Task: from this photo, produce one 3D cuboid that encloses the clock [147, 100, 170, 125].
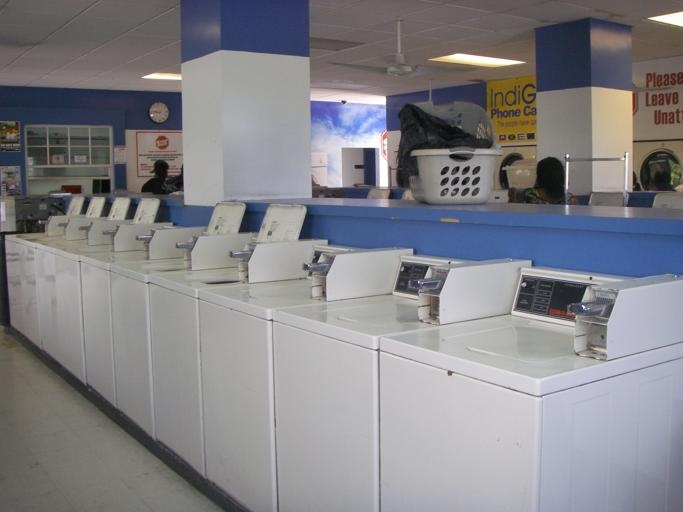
[{"bbox_3d":[-4.586,-3.571,12.807,0.609,0.596,0.107,-6,9,-37],"label":"clock"}]
